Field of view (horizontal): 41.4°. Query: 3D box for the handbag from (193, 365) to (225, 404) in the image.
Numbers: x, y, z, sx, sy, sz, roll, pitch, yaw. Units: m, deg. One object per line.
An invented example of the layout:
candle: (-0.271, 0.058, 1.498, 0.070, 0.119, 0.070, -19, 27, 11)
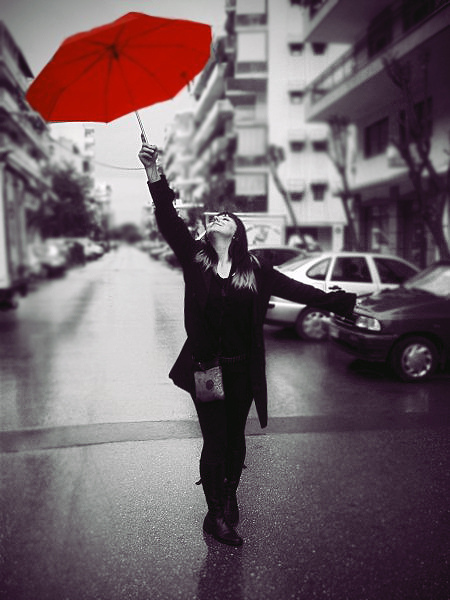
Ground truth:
handbag: (-0.073, 0.407, 2.847, 0.139, 0.184, 0.076, 0, 5, -3)

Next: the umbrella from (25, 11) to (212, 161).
umbrella: (-0.472, -0.965, 2.795, 0.622, 0.431, 0.652, -9, -19, -38)

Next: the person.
person: (0.037, 0.240, 2.983, 0.928, 1.940, 0.328, -2, 5, -17)

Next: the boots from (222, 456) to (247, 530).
boots: (0.033, 1.048, 3.194, 0.103, 0.295, 0.271, 4, 1, 2)

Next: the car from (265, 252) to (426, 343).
car: (1.709, 0.003, 8.794, 2.179, 1.093, 1.187, -3, 5, -6)
